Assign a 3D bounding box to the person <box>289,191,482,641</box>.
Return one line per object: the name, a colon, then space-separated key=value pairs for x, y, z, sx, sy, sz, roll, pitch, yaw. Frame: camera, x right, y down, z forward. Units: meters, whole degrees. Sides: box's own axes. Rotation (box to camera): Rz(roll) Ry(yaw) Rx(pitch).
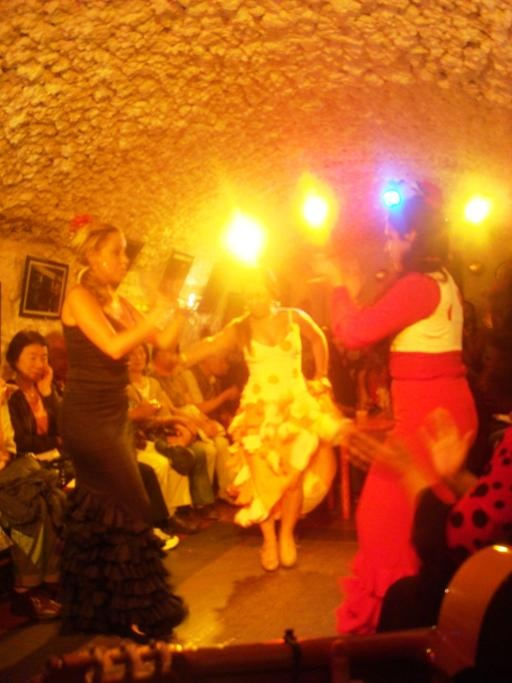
person: x=0.437 y=0.280 z=1.860 sx=0.561 sy=1.430 sz=0.550 roll=-2 pitch=1 yaw=34
